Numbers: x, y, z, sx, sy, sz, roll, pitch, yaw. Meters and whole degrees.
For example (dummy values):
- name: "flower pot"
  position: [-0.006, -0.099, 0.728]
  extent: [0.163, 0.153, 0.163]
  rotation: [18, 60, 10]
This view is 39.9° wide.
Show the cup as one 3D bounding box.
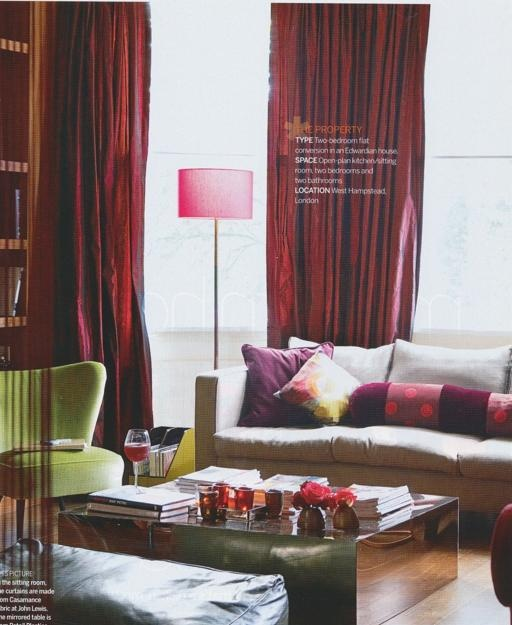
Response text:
- name: "cup"
  position: [-0.045, 0.511, 1.958]
  extent: [0.111, 0.064, 0.155]
  rotation: [-3, -10, 30]

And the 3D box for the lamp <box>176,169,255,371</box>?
- name: "lamp"
  position: [-0.178, -0.204, 3.592]
  extent: [0.343, 0.999, 0.547]
  rotation: [0, 4, 10]

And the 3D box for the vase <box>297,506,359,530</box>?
- name: "vase"
  position: [0.190, 0.537, 1.846]
  extent: [0.161, 0.067, 0.049]
  rotation: [-1, 4, -5]
